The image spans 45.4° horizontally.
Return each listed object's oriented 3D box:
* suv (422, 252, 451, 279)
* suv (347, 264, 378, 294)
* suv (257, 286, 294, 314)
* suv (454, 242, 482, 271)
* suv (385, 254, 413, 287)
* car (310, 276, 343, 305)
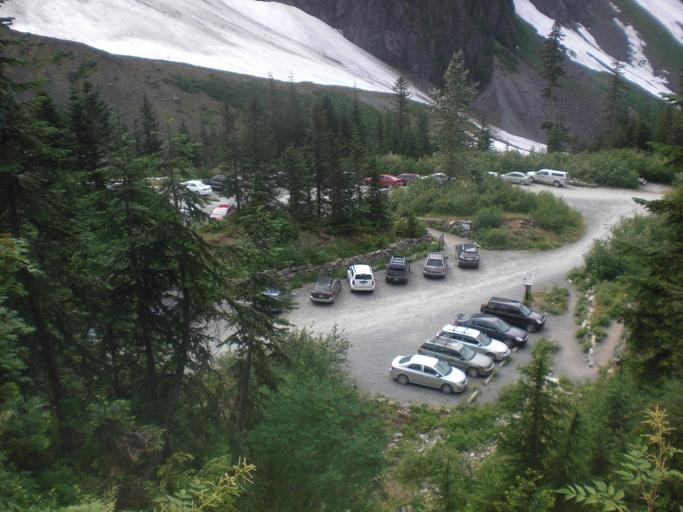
[{"bbox_3d":[8.517,0.898,72.345,1.876,1.857,2.372,3,17,24],"label":"suv"},{"bbox_3d":[1.739,1.900,69.371,1.375,1.213,3.000,0,25,0],"label":"suv"},{"bbox_3d":[-4.290,2.844,52.877,1.917,1.019,2.015,12,20,25],"label":"suv"},{"bbox_3d":[11.704,0.031,74.761,1.894,1.894,2.435,-3,16,4],"label":"suv"},{"bbox_3d":[5.064,1.246,71.308,1.399,1.255,2.719,3,32,11],"label":"suv"},{"bbox_3d":[-1.107,2.833,67.028,1.345,1.010,3.036,5,25,8],"label":"car"}]
